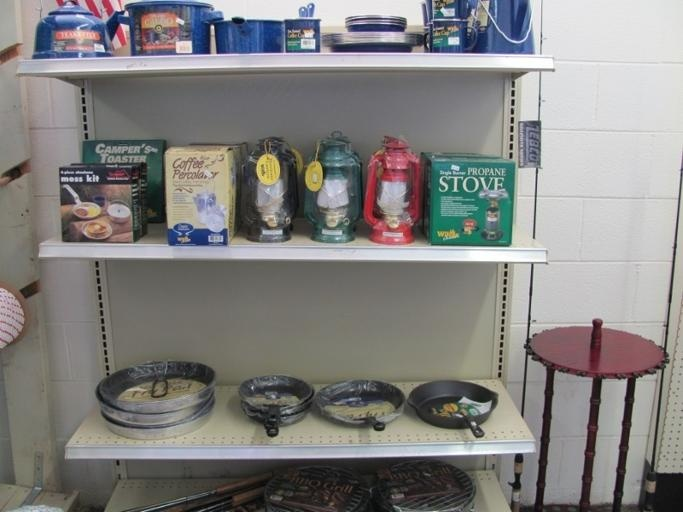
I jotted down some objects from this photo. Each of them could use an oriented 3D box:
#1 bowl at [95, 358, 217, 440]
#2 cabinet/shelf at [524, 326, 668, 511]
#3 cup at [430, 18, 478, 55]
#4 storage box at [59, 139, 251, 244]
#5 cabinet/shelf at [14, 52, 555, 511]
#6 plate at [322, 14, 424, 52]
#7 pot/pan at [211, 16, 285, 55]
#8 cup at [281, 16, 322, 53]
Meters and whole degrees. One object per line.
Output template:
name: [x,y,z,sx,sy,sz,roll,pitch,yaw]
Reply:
bowl: [-0.736,0.576,2.524,0.442,0.207,0.388,1,14,30]
cabinet/shelf: [1.067,0.725,2.569,0.489,0.967,0.451,-15,15,-34]
cup: [0.412,-0.802,2.261,0.165,0.135,0.101,2,10,15]
storage box: [-0.719,-0.260,2.404,0.661,0.420,0.407,-6,12,-1]
cabinet/shelf: [-0.219,0.053,2.521,2.005,1.701,0.640,-1,22,0]
plate: [0.100,-0.811,2.280,0.353,0.136,0.135,-5,12,2]
pot/pan: [-0.321,-0.788,2.270,0.166,0.096,0.202,3,12,15]
cup: [-0.131,-0.767,2.206,0.160,0.146,0.114,1,13,1]
